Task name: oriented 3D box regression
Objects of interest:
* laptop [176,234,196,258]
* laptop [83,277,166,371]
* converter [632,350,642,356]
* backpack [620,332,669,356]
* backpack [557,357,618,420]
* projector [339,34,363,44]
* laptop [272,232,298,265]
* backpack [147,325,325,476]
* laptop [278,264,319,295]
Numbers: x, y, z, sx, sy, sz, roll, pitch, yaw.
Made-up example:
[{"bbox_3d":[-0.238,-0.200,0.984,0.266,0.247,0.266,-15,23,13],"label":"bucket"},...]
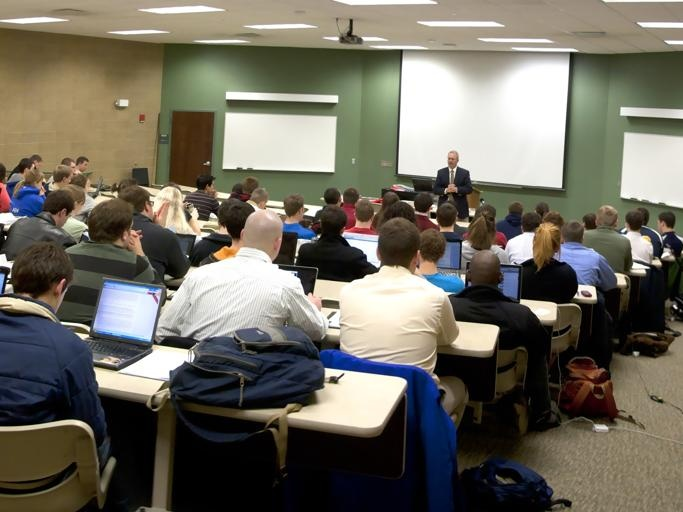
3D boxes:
[{"bbox_3d":[-1.295,-0.074,4.156,0.196,0.169,0.209,10,-4,3],"label":"laptop"},{"bbox_3d":[-1.003,0.283,2.297,0.352,0.367,0.279,9,10,11],"label":"laptop"},{"bbox_3d":[2.995,0.991,4.992,0.045,0.040,0.050,0,-1,2],"label":"converter"},{"bbox_3d":[3.135,0.899,5.028,0.286,0.140,0.300,2,6,36],"label":"backpack"},{"bbox_3d":[1.849,1.005,3.686,0.297,0.194,0.450,-1,10,14],"label":"backpack"},{"bbox_3d":[0.154,-3.738,8.435,0.342,0.146,0.250,0,8,1],"label":"projector"},{"bbox_3d":[-0.514,-0.083,4.700,0.218,0.369,0.270,8,5,7],"label":"laptop"},{"bbox_3d":[-0.362,0.553,1.698,0.461,0.216,0.553,7,29,13],"label":"backpack"},{"bbox_3d":[-0.258,0.128,3.191,0.203,0.159,0.180,9,3,20],"label":"laptop"}]
